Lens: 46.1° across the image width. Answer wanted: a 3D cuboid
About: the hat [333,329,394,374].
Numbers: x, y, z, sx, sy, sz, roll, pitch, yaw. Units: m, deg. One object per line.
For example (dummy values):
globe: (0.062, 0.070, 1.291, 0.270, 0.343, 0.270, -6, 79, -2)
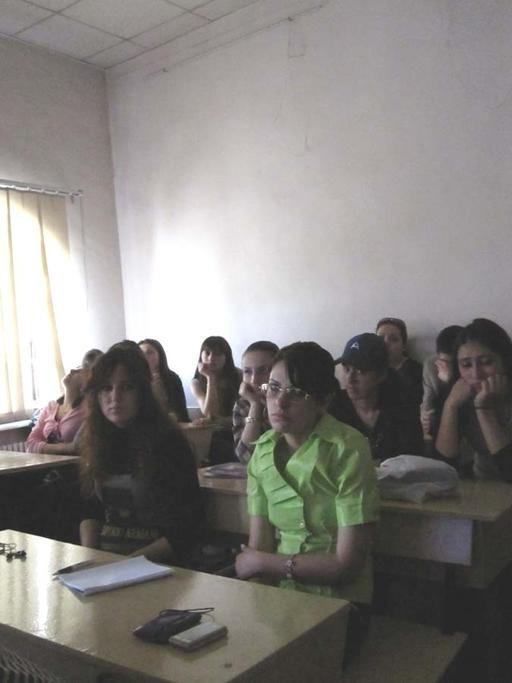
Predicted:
hat: (0.398, 0.044, 2.229, 0.132, 0.100, 0.192, 1, -3, 45)
